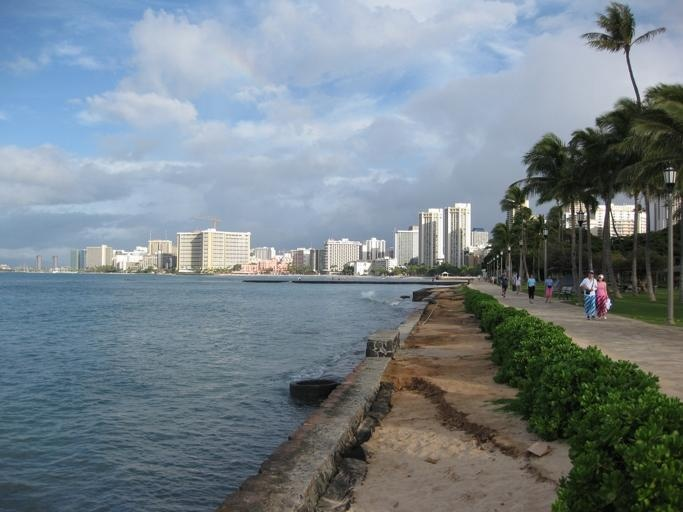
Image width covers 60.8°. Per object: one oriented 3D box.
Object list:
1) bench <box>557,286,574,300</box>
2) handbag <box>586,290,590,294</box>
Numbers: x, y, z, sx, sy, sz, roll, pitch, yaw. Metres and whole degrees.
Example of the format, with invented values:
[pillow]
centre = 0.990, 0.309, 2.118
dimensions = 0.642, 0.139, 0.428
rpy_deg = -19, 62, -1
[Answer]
[bench]
centre = 18.567, 3.039, 48.213
dimensions = 1.239, 1.519, 1.122
rpy_deg = 8, -10, -38
[handbag]
centre = 11.258, 1.656, 26.623
dimensions = 0.282, 0.183, 0.148
rpy_deg = -1, -2, 11
